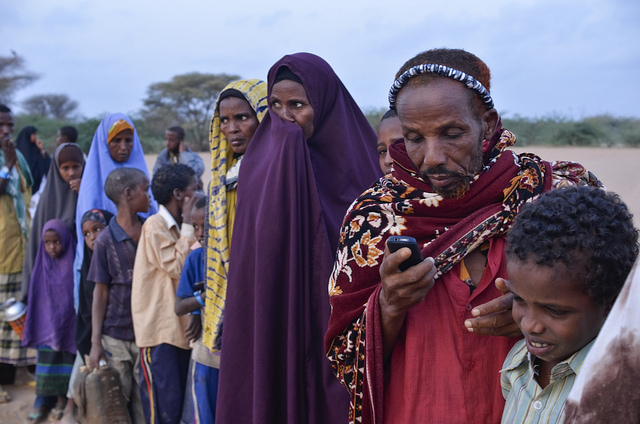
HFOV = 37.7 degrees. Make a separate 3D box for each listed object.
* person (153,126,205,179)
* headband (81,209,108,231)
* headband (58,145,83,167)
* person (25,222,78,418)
[{"bbox_3d":[-2.343,-0.964,15.439,0.932,0.842,0.525,1,7,22],"label":"person"},{"bbox_3d":[-2.472,0.085,10.318,0.235,0.224,0.238,-8,-12,-5],"label":"headband"},{"bbox_3d":[-2.972,-0.684,11.174,0.235,0.228,0.244,1,14,-8],"label":"headband"},{"bbox_3d":[-3.075,1.097,10.739,0.545,1.992,0.285,3,-5,-17],"label":"person"}]
